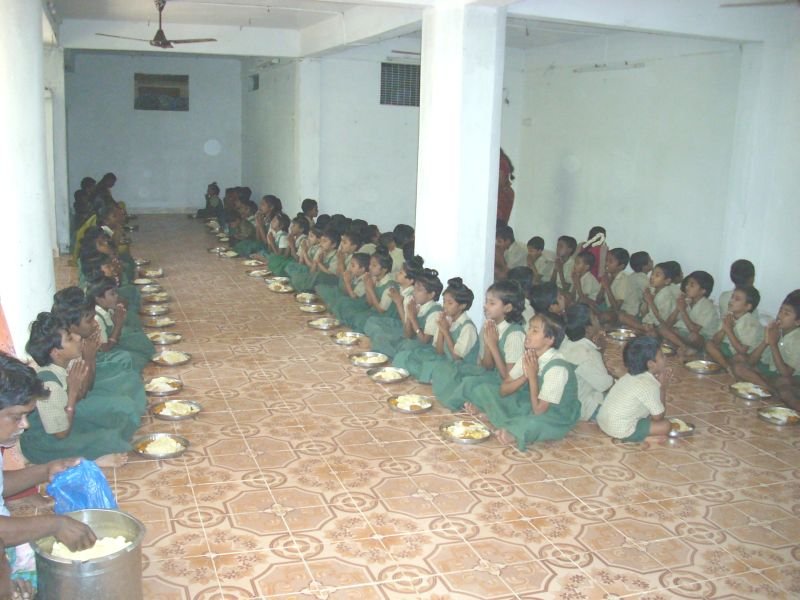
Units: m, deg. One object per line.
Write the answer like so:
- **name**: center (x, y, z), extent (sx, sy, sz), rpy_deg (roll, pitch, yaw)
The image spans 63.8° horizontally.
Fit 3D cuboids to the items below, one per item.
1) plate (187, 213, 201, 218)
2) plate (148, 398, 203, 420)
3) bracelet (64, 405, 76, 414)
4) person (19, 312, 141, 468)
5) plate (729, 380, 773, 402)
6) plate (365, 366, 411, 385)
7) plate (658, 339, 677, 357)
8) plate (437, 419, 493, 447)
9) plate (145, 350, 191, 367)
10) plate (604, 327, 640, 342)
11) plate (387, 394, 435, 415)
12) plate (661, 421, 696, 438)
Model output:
- **plate**: center (-4.624, -1.893, 14.443), extent (0.174, 0.071, 0.231), rpy_deg (-1, 5, -12)
- **plate**: center (-1.645, 0.804, 4.736), extent (0.351, 0.063, 0.284), rpy_deg (-4, 15, -10)
- **bracelet**: center (-2.009, 0.665, 3.934), extent (0.050, 0.034, 0.049), rpy_deg (10, 13, 29)
- **person**: center (-2.011, 0.592, 4.044), extent (0.614, 0.769, 0.585), rpy_deg (-10, 42, -24)
- **plate**: center (2.928, 0.756, 5.407), extent (0.309, 0.050, 0.304), rpy_deg (-6, 15, -19)
- **plate**: center (-0.087, 0.641, 5.511), extent (0.329, 0.061, 0.271), rpy_deg (-9, 17, -28)
- **plate**: center (2.485, 0.445, 5.961), extent (0.217, 0.048, 0.201), rpy_deg (0, 25, -5)
- **plate**: center (0.466, 0.940, 4.593), extent (0.326, 0.047, 0.330), rpy_deg (-12, 18, -36)
- **plate**: center (-2.036, 0.507, 5.729), extent (0.326, 0.064, 0.372), rpy_deg (-10, 17, -31)
- **plate**: center (2.311, 0.358, 6.789), extent (0.231, 0.055, 0.221), rpy_deg (3, 15, 24)
- **plate**: center (0.092, 0.800, 5.018), extent (0.319, 0.056, 0.349), rpy_deg (12, 19, 41)
- **plate**: center (2.065, 0.925, 4.709), extent (0.166, 0.070, 0.312), rpy_deg (6, 16, 26)
